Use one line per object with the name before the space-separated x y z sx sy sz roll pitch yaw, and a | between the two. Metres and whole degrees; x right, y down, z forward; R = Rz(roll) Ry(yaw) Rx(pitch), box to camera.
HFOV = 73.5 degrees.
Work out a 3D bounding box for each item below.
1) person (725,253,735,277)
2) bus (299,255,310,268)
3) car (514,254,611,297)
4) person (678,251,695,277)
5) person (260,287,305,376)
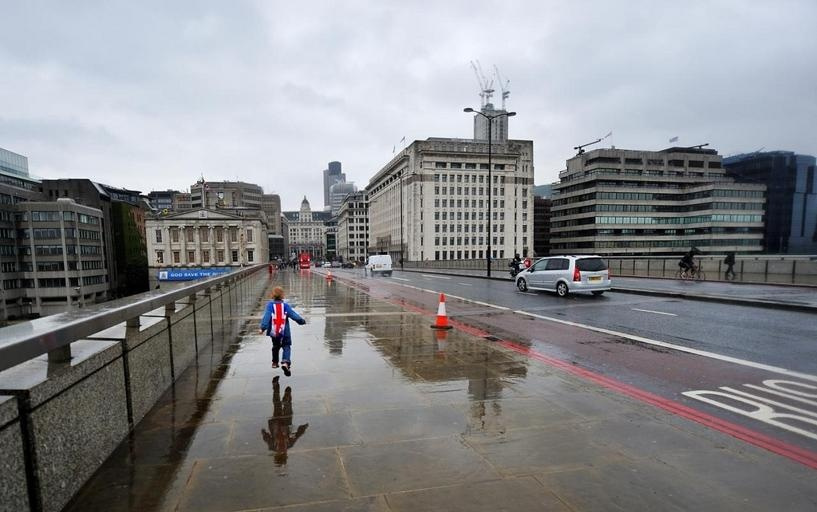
person | 15.560 0.454 26.518 0.445 1.220 1.482 2 4 30
bus | -13.487 0.877 70.259 1.133 1.447 3.199 2 4 -6
car | 6.194 0.800 22.689 1.564 1.677 4.317 -2 3 -22
person | 14.183 0.445 27.878 0.751 1.365 2.431 1 3 27
person | -2.560 1.475 10.857 0.772 1.584 1.221 0 3 -4
